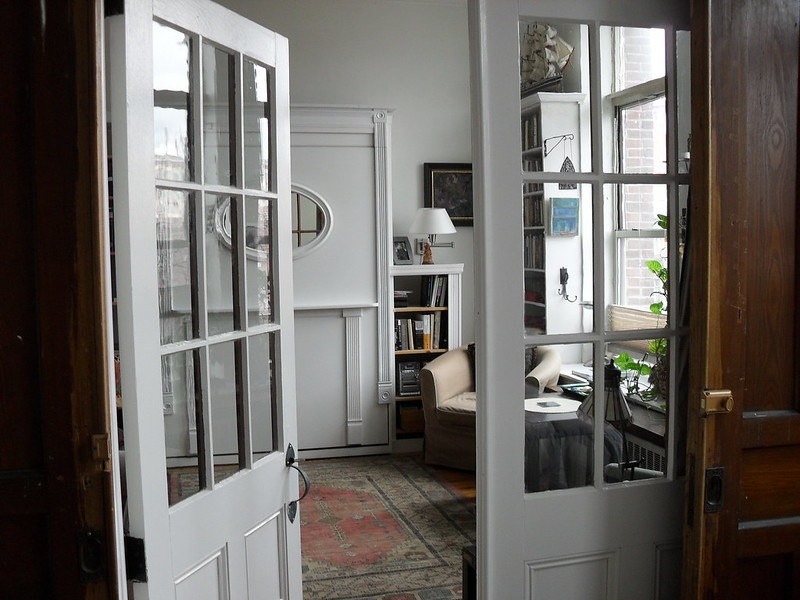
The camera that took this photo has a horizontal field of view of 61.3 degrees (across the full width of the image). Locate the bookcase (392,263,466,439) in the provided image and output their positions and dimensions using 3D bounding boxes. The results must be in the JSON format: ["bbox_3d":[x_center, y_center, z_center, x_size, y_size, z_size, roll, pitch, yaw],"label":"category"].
[{"bbox_3d":[0.170,0.409,5.473,0.621,1.401,0.416,-2,-16,7],"label":"bookcase"}]

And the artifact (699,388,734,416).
[{"bbox_3d":[0.939,0.302,1.991,0.108,0.094,0.065,-1,2,-9],"label":"artifact"}]

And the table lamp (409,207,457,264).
[{"bbox_3d":[0.276,-0.536,5.723,0.436,0.526,0.433,2,5,34],"label":"table lamp"}]
